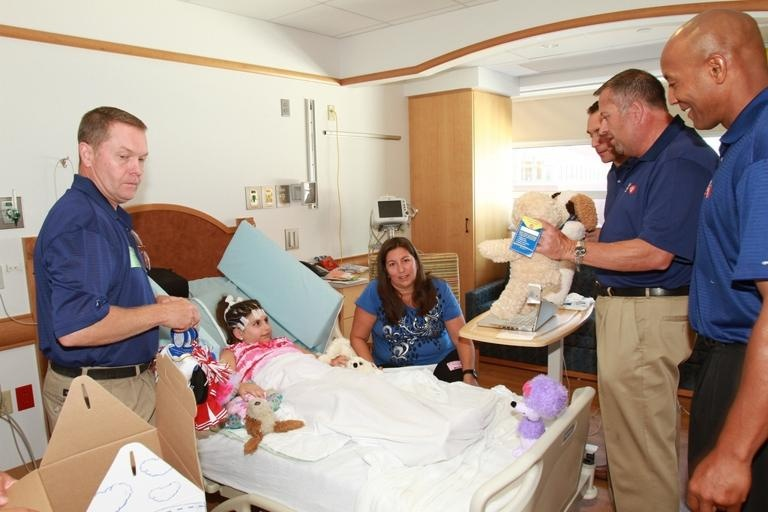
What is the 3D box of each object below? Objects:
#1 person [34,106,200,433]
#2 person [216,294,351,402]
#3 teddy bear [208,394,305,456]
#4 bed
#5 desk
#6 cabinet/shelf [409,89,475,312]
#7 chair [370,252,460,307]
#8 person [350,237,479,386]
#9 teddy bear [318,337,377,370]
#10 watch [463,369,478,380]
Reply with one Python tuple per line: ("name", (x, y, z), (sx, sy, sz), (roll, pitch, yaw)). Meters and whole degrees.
("person", (-1.279, 0.472, 2.507), (0.649, 2.176, 0.941), (-1, 10, -28))
("person", (-0.655, 0.557, 3.059), (0.980, 0.385, 0.730), (8, 11, 21))
("teddy bear", (-0.611, 0.795, 2.615), (0.380, 0.129, 0.307), (-7, 21, -31))
("bed", (-0.517, 0.303, 3.580), (2.894, 1.870, 2.087), (2, 6, 24))
("desk", (0.984, 0.608, 3.426), (0.880, 0.595, 0.533), (-1, 7, 27))
("cabinet/shelf", (0.635, -0.777, 5.469), (0.601, 1.909, 0.182), (-2, 32, 5))
("chair", (0.289, 0.229, 4.389), (0.480, 0.652, 0.547), (-1, -6, 0))
("person", (0.138, 0.306, 3.363), (0.735, 0.821, 0.234), (-3, 10, 6))
("teddy bear", (-0.221, 0.606, 3.138), (0.242, 0.098, 0.199), (27, 12, 33))
("watch", (0.548, 0.732, 3.252), (0.094, 0.060, 0.095), (1, -8, 15))
